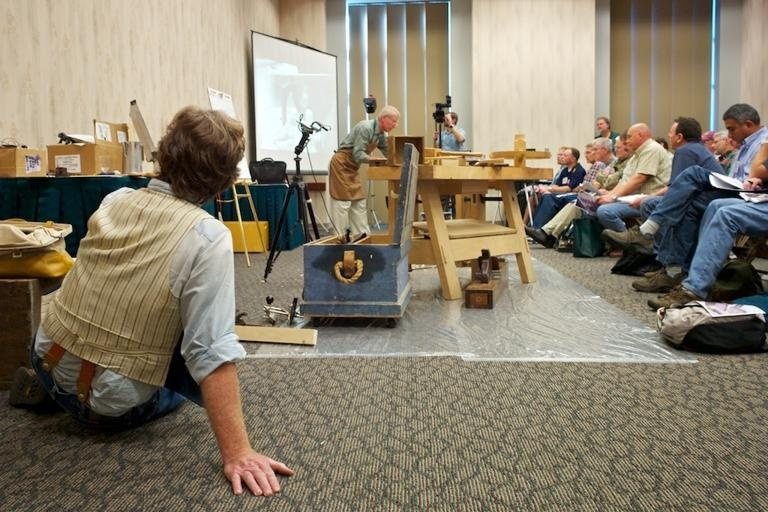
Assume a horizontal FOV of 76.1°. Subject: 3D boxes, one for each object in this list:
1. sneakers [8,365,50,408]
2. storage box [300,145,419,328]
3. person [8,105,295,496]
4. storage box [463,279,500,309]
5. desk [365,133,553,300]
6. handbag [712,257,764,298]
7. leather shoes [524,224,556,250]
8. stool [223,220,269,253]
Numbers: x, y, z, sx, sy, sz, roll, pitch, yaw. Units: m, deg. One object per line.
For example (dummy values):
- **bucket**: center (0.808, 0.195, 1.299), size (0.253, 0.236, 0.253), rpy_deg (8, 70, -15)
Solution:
- **sneakers**: center (-1.345, 0.500, 1.869), size (0.106, 0.213, 0.083), rpy_deg (-23, -16, 14)
- **storage box**: center (-0.102, -0.122, 3.143), size (0.645, 0.999, 1.013), rpy_deg (0, 2, 4)
- **person**: center (-0.862, 0.055, 1.790), size (0.634, 1.179, 1.440), rpy_deg (10, 14, -47)
- **storage box**: center (0.637, 0.240, 3.209), size (0.183, 0.126, 0.321), rpy_deg (3, 12, 18)
- **desk**: center (0.633, -0.287, 3.716), size (1.164, 0.891, 0.702), rpy_deg (-7, 20, -27)
- **handbag**: center (2.054, 0.156, 2.849), size (0.324, 0.207, 0.220), rpy_deg (-11, 15, -40)
- **leather shoes**: center (1.835, -0.221, 5.729), size (0.362, 0.261, 0.123), rpy_deg (36, -10, 0)
- **stool**: center (-1.338, -0.186, 4.758), size (0.337, 0.236, 0.186), rpy_deg (-1, 10, 0)
